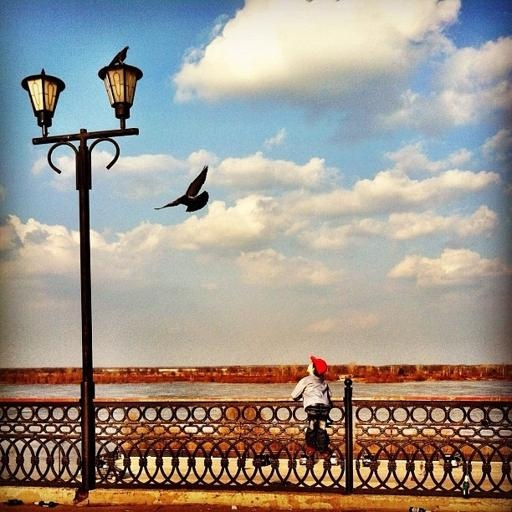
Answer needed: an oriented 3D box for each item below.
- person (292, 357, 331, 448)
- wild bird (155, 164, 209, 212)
[{"bbox_3d":[0.783,2.115,16.276,0.562,1.342,0.360,0,-11,2],"label":"person"},{"bbox_3d":[-1.057,-1.028,18.285,0.449,0.578,0.554,0,-10,4],"label":"wild bird"}]
